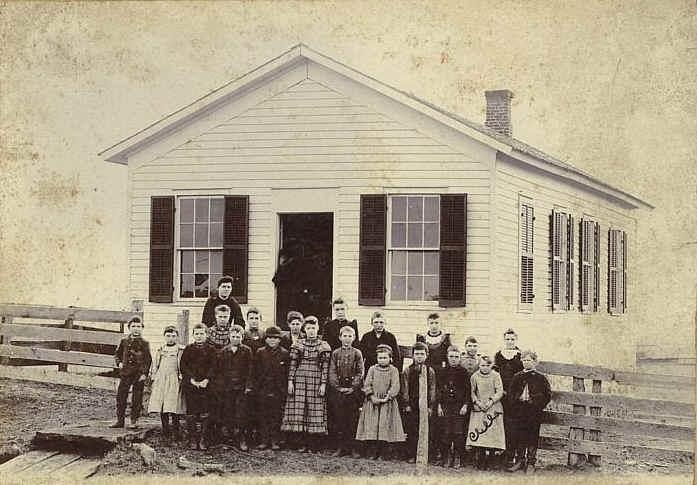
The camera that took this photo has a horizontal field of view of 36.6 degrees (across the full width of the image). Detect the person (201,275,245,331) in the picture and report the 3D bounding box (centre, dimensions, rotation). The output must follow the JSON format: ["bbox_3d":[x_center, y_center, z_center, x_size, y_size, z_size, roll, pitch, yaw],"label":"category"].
[{"bbox_3d":[-2.156,1.086,18.384,0.878,1.144,0.348,3,-35,-12],"label":"person"}]
